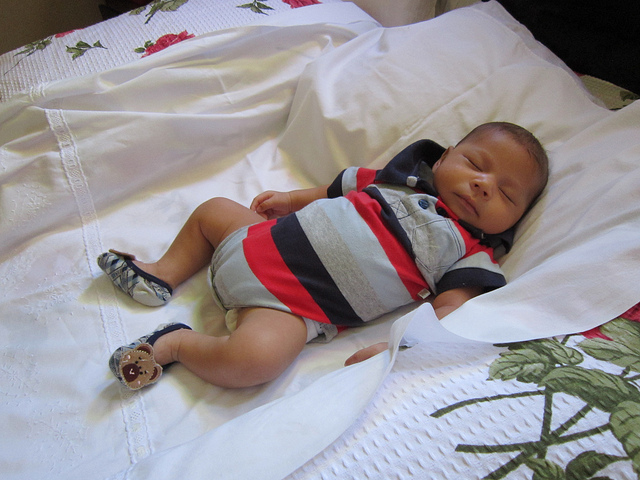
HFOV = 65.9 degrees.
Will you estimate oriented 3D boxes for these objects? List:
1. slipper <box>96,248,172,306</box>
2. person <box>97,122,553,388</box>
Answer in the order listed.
[{"bbox_3d":[-0.448,0.078,1.204,0.203,0.065,0.098,33,10,-2],"label":"slipper"},{"bbox_3d":[0.058,-0.020,1.193,1.125,0.401,0.537,-8,49,-20],"label":"person"}]
